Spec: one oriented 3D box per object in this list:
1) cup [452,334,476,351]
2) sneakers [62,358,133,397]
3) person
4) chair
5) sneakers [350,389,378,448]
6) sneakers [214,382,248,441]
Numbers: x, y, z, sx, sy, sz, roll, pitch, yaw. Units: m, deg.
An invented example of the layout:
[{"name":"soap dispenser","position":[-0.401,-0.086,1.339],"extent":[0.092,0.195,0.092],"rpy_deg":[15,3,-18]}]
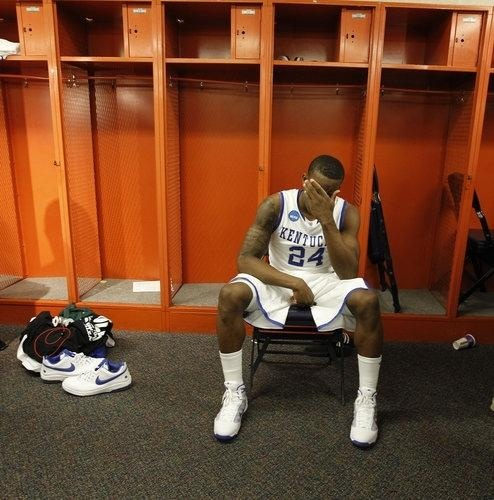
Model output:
[{"name":"cup","position":[1.434,0.609,2.922],"extent":[0.179,0.086,0.094],"rpy_deg":[0,14,-4]},{"name":"sneakers","position":[-0.761,0.675,2.416],"extent":[0.432,0.157,0.145],"rpy_deg":[0,13,-14]},{"name":"person","position":[0.269,0.196,2.071],"extent":[0.757,1.238,0.721],"rpy_deg":[4,15,13]},{"name":"chair","position":[0.290,0.475,2.367],"extent":[0.706,0.566,0.542],"rpy_deg":[0,-5,6]},{"name":"sneakers","position":[0.496,0.749,1.974],"extent":[0.102,0.107,0.269],"rpy_deg":[1,9,11]},{"name":"sneakers","position":[-0.045,0.742,2.007],"extent":[0.102,0.110,0.276],"rpy_deg":[1,8,10]}]
